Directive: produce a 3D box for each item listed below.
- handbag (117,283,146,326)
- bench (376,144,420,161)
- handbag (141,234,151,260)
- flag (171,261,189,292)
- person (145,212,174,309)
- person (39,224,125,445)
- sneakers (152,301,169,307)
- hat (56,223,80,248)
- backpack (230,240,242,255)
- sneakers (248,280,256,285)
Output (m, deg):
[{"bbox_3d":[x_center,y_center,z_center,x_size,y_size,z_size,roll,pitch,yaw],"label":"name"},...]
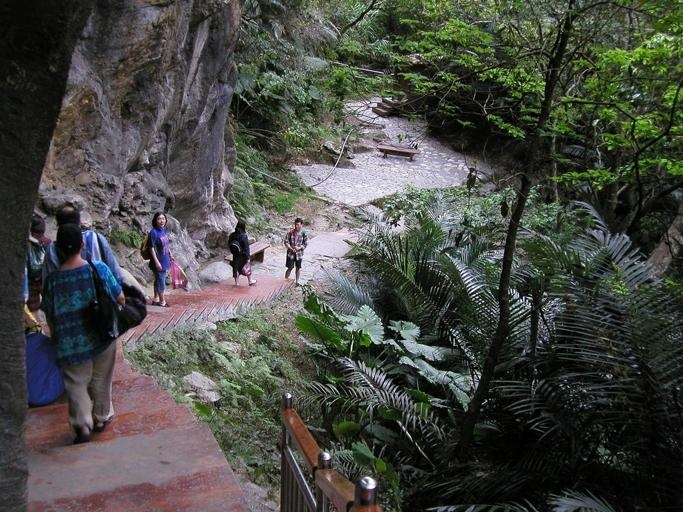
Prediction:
[{"bbox_3d":[-1.541,0.350,3.849,0.250,0.305,0.167,15,-31,-39],"label":"handbag"},{"bbox_3d":[2.335,-4.395,22.384,1.724,0.611,1.467,14,13,1],"label":"bench"},{"bbox_3d":[-2.563,-0.113,6.916,0.118,0.366,0.236,9,14,-21],"label":"handbag"},{"bbox_3d":[-2.428,0.318,7.885,0.201,0.173,0.444,9,-24,-1],"label":"flag"},{"bbox_3d":[-2.405,0.049,6.970,0.372,1.278,0.535,9,14,-20],"label":"person"},{"bbox_3d":[-1.756,0.541,3.580,0.512,1.455,0.398,6,15,-31],"label":"person"},{"bbox_3d":[-2.391,0.633,6.983,0.231,0.093,0.079,2,8,-2],"label":"sneakers"},{"bbox_3d":[-1.786,-0.110,3.447,0.122,0.164,0.096,1,-36,-18],"label":"hat"},{"bbox_3d":[-1.804,-0.160,9.006,0.191,0.150,0.275,3,-36,19],"label":"backpack"},{"bbox_3d":[-1.627,0.487,9.624,0.129,0.088,0.045,-15,32,15],"label":"sneakers"}]
